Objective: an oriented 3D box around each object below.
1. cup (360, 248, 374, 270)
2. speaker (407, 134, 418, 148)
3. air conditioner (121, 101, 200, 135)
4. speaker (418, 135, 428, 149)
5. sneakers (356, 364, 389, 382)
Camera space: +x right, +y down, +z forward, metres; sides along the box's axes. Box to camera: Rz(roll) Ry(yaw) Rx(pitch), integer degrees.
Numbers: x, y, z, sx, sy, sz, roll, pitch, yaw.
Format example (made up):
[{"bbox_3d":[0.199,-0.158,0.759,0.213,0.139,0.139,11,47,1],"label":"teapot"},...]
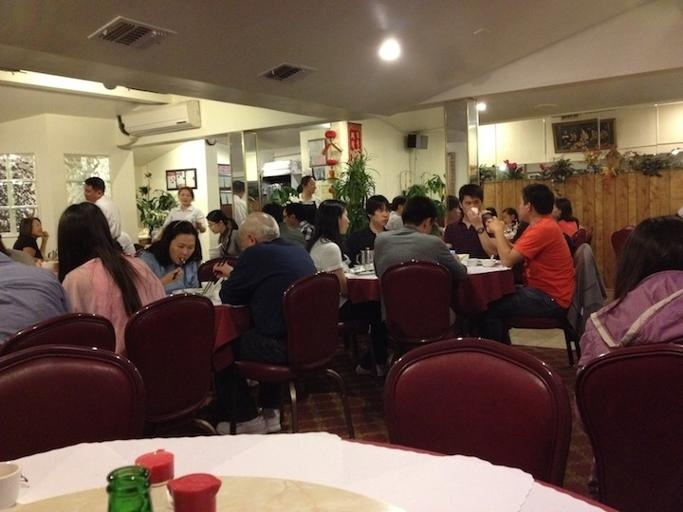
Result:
[{"bbox_3d":[0.236,0.026,4.152,0.154,0.165,0.092,0,0,17],"label":"cup"},{"bbox_3d":[1.595,-2.575,10.704,0.110,0.292,0.286,7,11,43],"label":"speaker"},{"bbox_3d":[-3.418,-2.590,9.018,1.868,0.550,0.404,5,9,31],"label":"air conditioner"},{"bbox_3d":[1.880,-2.604,10.953,0.124,0.316,0.335,0,4,27],"label":"speaker"},{"bbox_3d":[0.252,0.913,3.925,0.092,0.180,0.270,-2,8,-37],"label":"sneakers"}]
